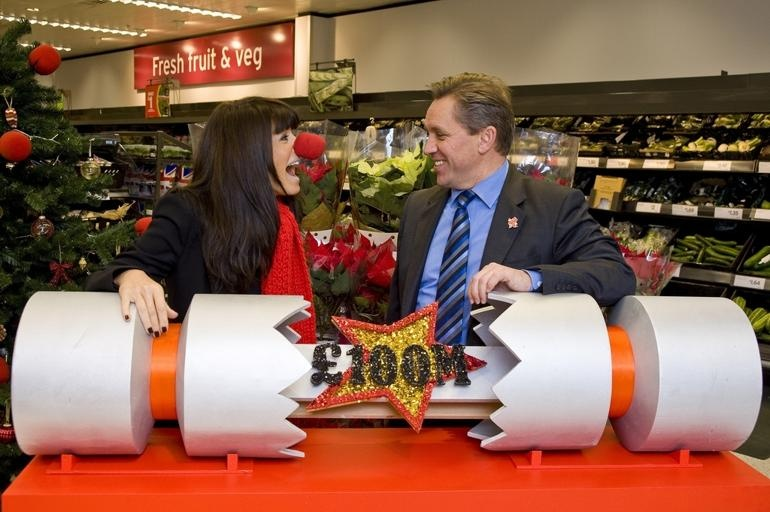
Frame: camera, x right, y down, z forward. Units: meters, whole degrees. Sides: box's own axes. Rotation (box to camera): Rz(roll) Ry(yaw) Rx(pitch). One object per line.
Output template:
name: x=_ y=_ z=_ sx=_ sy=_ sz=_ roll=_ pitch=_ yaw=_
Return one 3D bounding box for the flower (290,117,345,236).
flower: x=-0.298 y=-0.411 z=2.918 sx=0.324 sy=0.536 sz=0.358 roll=6 pitch=6 yaw=-2

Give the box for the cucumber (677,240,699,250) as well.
cucumber: x=2.844 y=-0.116 z=5.360 sx=0.218 sy=0.066 sz=0.052 roll=21 pitch=46 yaw=41

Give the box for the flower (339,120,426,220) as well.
flower: x=0.002 y=-0.411 z=2.913 sx=0.458 sy=0.590 sz=0.471 roll=1 pitch=7 yaw=-18

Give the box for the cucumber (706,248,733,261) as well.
cucumber: x=3.036 y=-0.013 z=5.176 sx=0.225 sy=0.067 sz=0.074 roll=13 pitch=4 yaw=21

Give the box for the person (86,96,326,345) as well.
person: x=-0.572 y=-0.141 z=1.965 sx=0.388 sy=0.795 sz=0.961 roll=8 pitch=15 yaw=27

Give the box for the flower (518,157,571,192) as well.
flower: x=0.787 y=-0.371 z=2.844 sx=0.196 sy=0.176 sz=0.231 roll=2 pitch=1 yaw=-11

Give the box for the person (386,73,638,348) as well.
person: x=0.444 y=-0.173 z=2.137 sx=0.629 sy=1.001 sz=0.957 roll=-6 pitch=15 yaw=-27

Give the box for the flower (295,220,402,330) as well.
flower: x=-0.197 y=0.085 z=2.494 sx=0.371 sy=0.458 sz=0.432 roll=1 pitch=-1 yaw=-8
